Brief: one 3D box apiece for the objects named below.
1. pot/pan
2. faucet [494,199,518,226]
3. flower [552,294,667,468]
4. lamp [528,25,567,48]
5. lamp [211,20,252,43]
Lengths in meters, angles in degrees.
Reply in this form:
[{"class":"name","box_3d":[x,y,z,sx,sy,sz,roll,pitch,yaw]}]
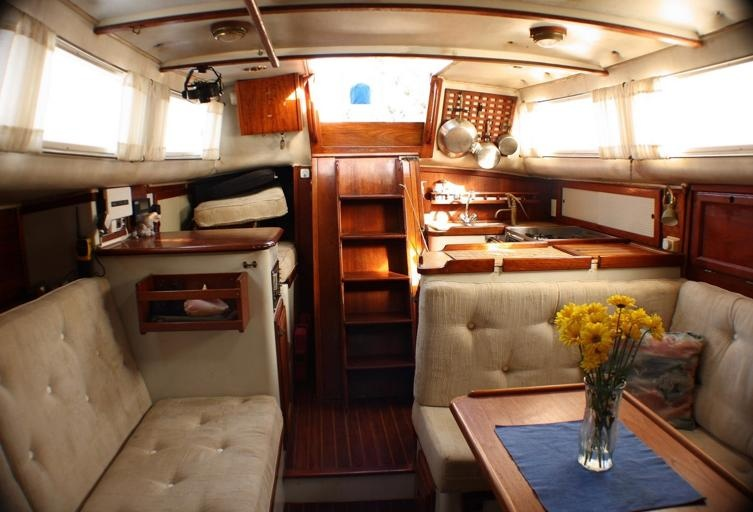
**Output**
[{"class":"pot/pan","box_3d":[0.948,-1.195,4.759,0.666,0.697,0.194,-3,31,-9]},{"class":"faucet","box_3d":[1.296,-0.449,5.049,0.166,0.244,0.364,-1,7,6]},{"class":"flower","box_3d":[1.063,0.486,2.288,0.396,0.705,0.794,3,8,29]},{"class":"lamp","box_3d":[1.002,-1.283,2.934,0.128,0.065,0.123,-10,18,-28]},{"class":"lamp","box_3d":[-0.833,-1.282,2.883,0.226,0.057,0.273,-2,6,-11]}]
